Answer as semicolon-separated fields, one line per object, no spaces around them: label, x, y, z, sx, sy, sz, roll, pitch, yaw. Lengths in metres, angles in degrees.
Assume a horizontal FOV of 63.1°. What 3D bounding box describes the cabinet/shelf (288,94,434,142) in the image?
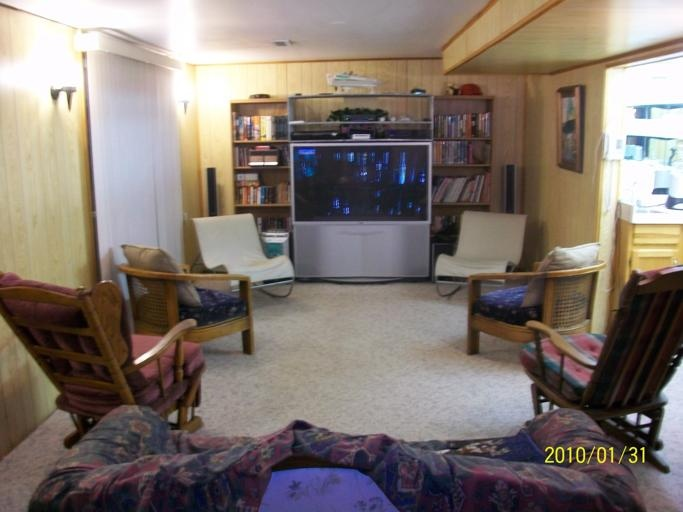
cabinet/shelf;0.154;-1.694;7.627;2.258;0.599;0.708;0;0;0

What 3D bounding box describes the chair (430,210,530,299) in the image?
chair;1.587;0.012;6.197;0.919;0.745;1.157;0;20;19

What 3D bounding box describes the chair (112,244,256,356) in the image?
chair;-1.315;0.410;4.722;1.118;0.827;1.099;4;5;5

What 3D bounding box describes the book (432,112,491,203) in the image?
book;1.528;-1.222;7.029;0.687;1.100;0.373;1;12;12

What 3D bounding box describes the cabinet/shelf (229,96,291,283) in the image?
cabinet/shelf;-1.086;-1.089;7.041;0.653;1.639;0.241;3;15;-1

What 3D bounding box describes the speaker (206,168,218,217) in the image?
speaker;-1.662;-0.822;7.137;0.137;0.604;0.310;-4;12;-14

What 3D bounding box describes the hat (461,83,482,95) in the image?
hat;1.612;-2.057;6.898;0.291;0.139;0.140;-3;11;-10

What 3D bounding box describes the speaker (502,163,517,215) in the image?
speaker;2.127;-0.843;7.040;0.192;0.600;0.360;2;12;16

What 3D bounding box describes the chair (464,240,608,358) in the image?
chair;1.602;0.360;4.591;0.911;0.812;0.987;-7;8;-25

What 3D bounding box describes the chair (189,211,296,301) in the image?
chair;-1.141;0.045;6.272;0.926;0.822;0.852;22;23;39

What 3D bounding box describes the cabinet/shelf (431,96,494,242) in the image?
cabinet/shelf;1.431;-1.286;7.016;0.904;2.074;0.332;3;-17;8
